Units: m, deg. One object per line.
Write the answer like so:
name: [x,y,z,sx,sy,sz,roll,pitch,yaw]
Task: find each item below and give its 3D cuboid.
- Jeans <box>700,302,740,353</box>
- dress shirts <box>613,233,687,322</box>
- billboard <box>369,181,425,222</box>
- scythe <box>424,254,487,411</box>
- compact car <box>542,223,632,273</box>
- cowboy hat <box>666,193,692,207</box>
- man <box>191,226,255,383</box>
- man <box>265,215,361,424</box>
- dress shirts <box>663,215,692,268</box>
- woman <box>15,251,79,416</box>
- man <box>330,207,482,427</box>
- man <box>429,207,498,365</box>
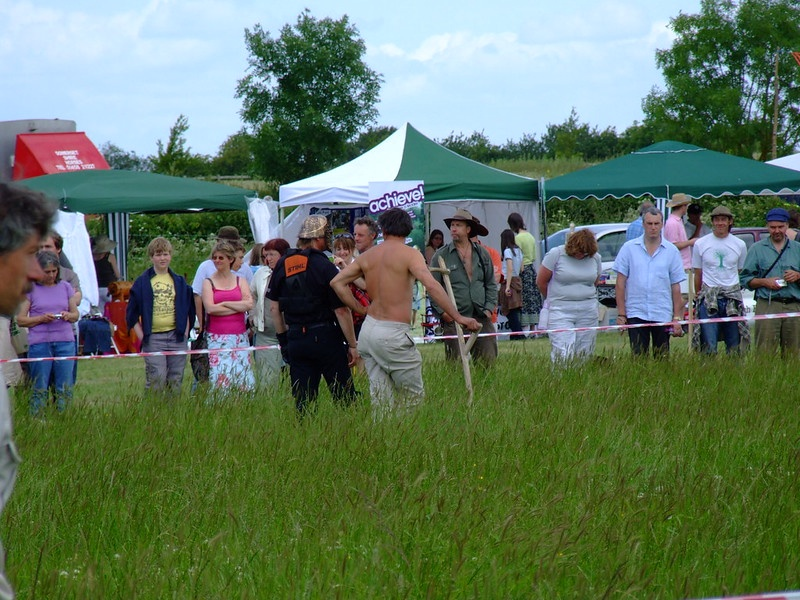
Jeans: [3.672,0.316,14.514,0.386,0.305,0.913,7,34,5]
dress shirts: [2.778,-0.197,14.103,0.784,0.993,0.469,0,-4,16]
billboard: [-0.058,-1.281,17.433,0.768,0.862,0.016,-6,-30,7]
scythe: [0.596,0.312,12.148,0.224,1.456,0.439,-15,7,-36]
compact car: [3.474,-0.823,22.019,0.682,0.672,1.293,3,14,-28]
cowboy hat: [3.619,-1.286,16.384,0.209,0.111,0.273,3,10,29]
man: [-1.995,0.128,14.259,0.759,1.947,0.575,6,33,-4]
man: [-0.800,0.303,11.996,0.825,2.176,0.655,3,21,13]
dress shirts: [3.665,-0.782,16.635,0.327,0.742,0.563,4,16,23]
woman: [-3.538,0.477,12.913,0.557,1.873,0.526,-5,9,-31]
man: [0.066,0.208,12.396,1.586,2.913,0.953,9,17,30]
man: [0.737,0.159,13.990,0.692,2.149,0.571,-6,1,11]
